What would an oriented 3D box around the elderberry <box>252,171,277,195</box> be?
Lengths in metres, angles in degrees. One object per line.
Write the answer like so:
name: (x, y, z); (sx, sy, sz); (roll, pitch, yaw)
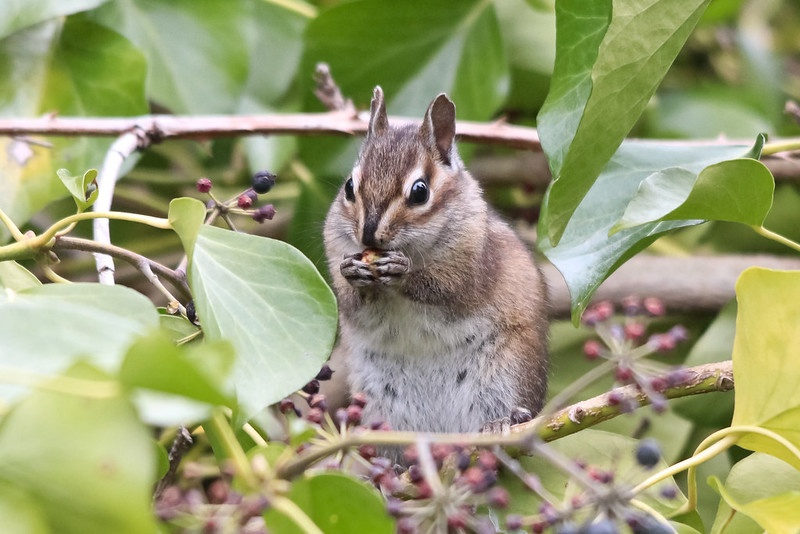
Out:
elderberry: (-0.536, -0.330, 3.546); (0.092, 0.075, 0.075); (-5, 58, 23)
